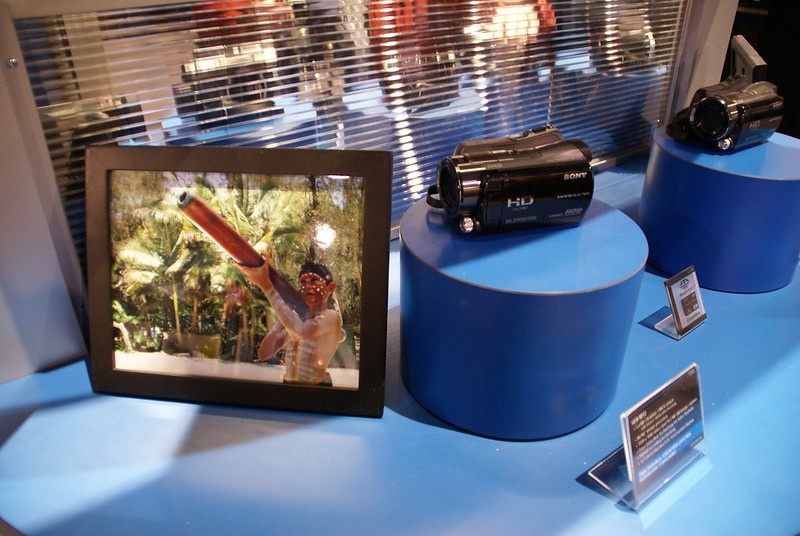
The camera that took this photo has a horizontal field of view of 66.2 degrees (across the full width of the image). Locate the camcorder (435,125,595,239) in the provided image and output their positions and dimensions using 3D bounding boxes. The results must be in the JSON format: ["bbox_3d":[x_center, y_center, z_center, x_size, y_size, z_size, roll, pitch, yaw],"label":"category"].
[{"bbox_3d":[0.328,-0.257,1.836,0.397,0.198,0.284,-7,31,-11],"label":"camcorder"}]

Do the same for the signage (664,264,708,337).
[{"bbox_3d":[1.012,0.124,2.171,0.194,0.216,0.016,-28,15,-33],"label":"signage"}]

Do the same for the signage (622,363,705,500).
[{"bbox_3d":[0.746,0.477,1.733,0.282,0.218,0.096,-34,31,-32],"label":"signage"}]

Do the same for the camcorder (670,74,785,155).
[{"bbox_3d":[1.234,-0.586,2.310,0.369,0.175,0.269,-28,36,-28],"label":"camcorder"}]
